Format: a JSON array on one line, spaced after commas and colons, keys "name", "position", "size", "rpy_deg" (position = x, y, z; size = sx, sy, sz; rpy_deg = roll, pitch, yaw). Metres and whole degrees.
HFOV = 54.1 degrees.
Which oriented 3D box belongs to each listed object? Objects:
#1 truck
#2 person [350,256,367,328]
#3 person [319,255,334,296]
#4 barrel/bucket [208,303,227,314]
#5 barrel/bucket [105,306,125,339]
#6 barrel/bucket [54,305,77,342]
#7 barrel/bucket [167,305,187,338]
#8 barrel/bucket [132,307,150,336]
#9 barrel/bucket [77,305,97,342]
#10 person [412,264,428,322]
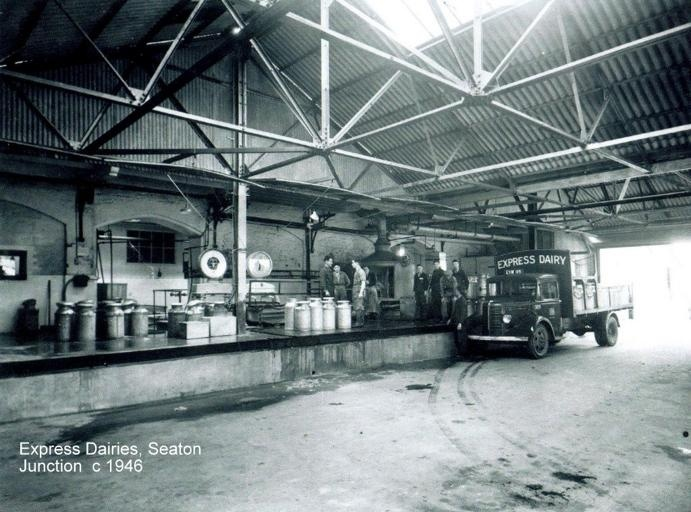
[{"name": "truck", "position": [6.258, 1.432, 21.305], "size": [5.767, 3.357, 2.590], "rpy_deg": [-9, 16, -34]}, {"name": "person", "position": [0.391, 1.130, 20.659], "size": [0.381, 1.862, 0.882], "rpy_deg": [0, 13, 0]}, {"name": "person", "position": [-0.586, 0.707, 20.966], "size": [0.435, 1.359, 0.914], "rpy_deg": [-1, 13, -3]}, {"name": "barrel/bucket", "position": [-3.439, 1.435, 18.043], "size": [0.463, 0.337, 0.262], "rpy_deg": [1, -2, -11]}, {"name": "barrel/bucket", "position": [-5.837, 1.610, 17.135], "size": [0.451, 0.895, 0.465], "rpy_deg": [5, 15, -1]}, {"name": "barrel/bucket", "position": [-6.917, 1.629, 16.681], "size": [0.500, 0.860, 0.678], "rpy_deg": [-6, 15, -25]}, {"name": "barrel/bucket", "position": [-4.403, 1.685, 17.449], "size": [0.662, 0.950, 0.635], "rpy_deg": [0, -9, 0]}, {"name": "barrel/bucket", "position": [-5.395, 1.737, 17.615], "size": [0.400, 0.644, 0.465], "rpy_deg": [-2, 13, -10]}, {"name": "barrel/bucket", "position": [-6.433, 1.655, 16.694], "size": [0.456, 0.889, 0.649], "rpy_deg": [-5, 14, -19]}, {"name": "person", "position": [2.537, 1.315, 22.887], "size": [0.432, 1.408, 1.247], "rpy_deg": [1, 13, 5]}]
